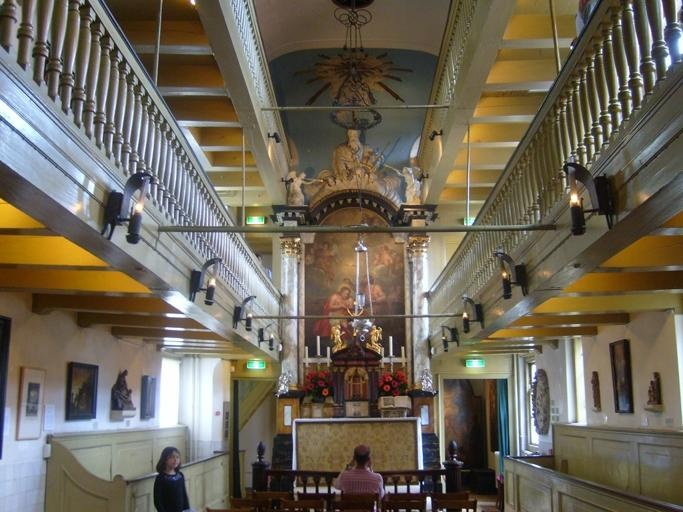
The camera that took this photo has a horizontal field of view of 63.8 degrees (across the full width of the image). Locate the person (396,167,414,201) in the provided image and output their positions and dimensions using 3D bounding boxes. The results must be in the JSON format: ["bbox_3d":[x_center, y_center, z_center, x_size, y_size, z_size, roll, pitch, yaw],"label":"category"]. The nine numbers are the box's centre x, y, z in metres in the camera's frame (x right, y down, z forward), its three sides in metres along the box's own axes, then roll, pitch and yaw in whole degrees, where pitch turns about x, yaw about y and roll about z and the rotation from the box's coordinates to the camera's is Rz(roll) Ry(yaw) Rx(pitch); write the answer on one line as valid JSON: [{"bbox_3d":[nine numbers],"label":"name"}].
[{"bbox_3d":[1.749,-1.885,14.755,0.401,1.211,0.574,-1,-18,-1],"label":"person"}]

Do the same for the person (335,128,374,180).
[{"bbox_3d":[0.398,-2.850,15.296,1.148,1.712,0.924,-5,-4,2],"label":"person"}]

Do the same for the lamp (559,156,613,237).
[{"bbox_3d":[2.028,-0.471,4.492,0.318,0.580,0.265,-5,-8,23],"label":"lamp"}]

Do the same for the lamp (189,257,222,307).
[{"bbox_3d":[-1.670,0.308,6.753,0.289,0.598,0.158,10,-5,-22],"label":"lamp"}]

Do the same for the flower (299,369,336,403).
[{"bbox_3d":[-0.573,3.155,13.295,0.876,0.736,0.840,-5,-19,7],"label":"flower"}]

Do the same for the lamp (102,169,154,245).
[{"bbox_3d":[-1.834,-0.392,4.805,0.319,0.707,0.469,-2,-18,2],"label":"lamp"}]

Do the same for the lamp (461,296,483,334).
[{"bbox_3d":[2.068,0.932,8.650,0.308,0.543,0.353,-4,-8,-2],"label":"lamp"}]

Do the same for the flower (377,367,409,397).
[{"bbox_3d":[1.252,3.109,13.368,0.528,0.405,0.562,2,7,4],"label":"flower"}]

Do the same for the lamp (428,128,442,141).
[{"bbox_3d":[1.998,-2.569,11.586,0.105,0.155,0.351,-11,11,-16],"label":"lamp"}]

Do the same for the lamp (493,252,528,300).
[{"bbox_3d":[2.020,0.185,6.493,0.272,0.619,0.377,-4,-18,6],"label":"lamp"}]
